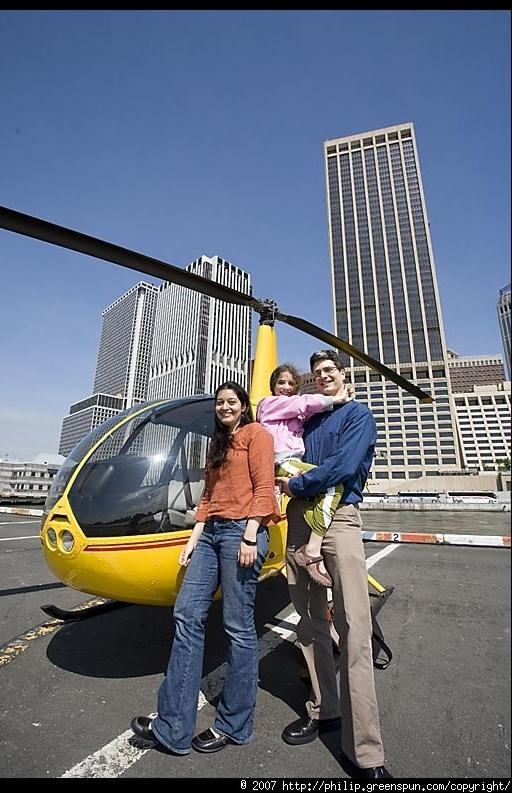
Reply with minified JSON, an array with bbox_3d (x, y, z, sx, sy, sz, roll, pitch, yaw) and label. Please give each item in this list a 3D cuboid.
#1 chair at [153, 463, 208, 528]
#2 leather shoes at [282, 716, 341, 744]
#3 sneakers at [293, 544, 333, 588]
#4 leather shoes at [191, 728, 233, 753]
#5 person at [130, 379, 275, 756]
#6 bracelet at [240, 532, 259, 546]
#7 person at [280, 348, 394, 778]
[{"bbox_3d":[-0.415,0.665,2.877,0.311,0.343,0.253,15,-4,19],"label":"chair"},{"bbox_3d":[0.265,1.608,2.178,0.281,0.094,0.091,14,-27,-23],"label":"leather shoes"},{"bbox_3d":[0.267,0.791,2.083,0.157,0.155,0.166,-1,-6,7],"label":"sneakers"},{"bbox_3d":[-0.205,1.562,2.041,0.134,0.046,0.075,26,-9,-32],"label":"leather shoes"},{"bbox_3d":[-0.225,0.789,2.318,0.691,1.792,0.448,1,-7,-7],"label":"person"},{"bbox_3d":[-0.032,0.692,2.145,0.064,0.048,0.037,1,-7,-10],"label":"bracelet"},{"bbox_3d":[0.360,0.684,2.304,0.523,1.952,0.716,-2,-7,14],"label":"person"}]
